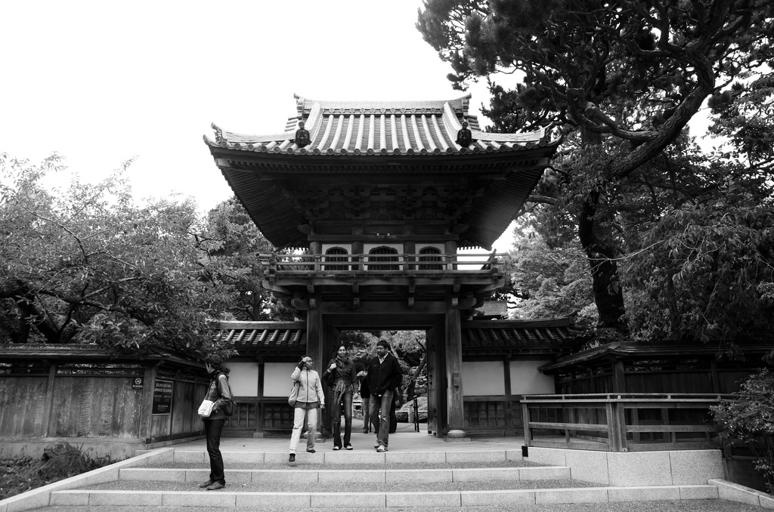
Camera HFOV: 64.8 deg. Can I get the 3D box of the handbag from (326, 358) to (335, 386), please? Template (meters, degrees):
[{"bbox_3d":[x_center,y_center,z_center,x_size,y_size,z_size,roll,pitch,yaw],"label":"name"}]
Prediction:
[{"bbox_3d":[-1.259,2.654,13.732,0.240,0.568,0.246,-4,15,-15],"label":"handbag"}]

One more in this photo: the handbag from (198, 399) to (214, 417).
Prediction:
[{"bbox_3d":[-3.445,2.978,11.838,0.329,0.319,0.130,0,-28,23],"label":"handbag"}]

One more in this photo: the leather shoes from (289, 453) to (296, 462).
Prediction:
[{"bbox_3d":[-1.976,4.218,12.847,0.120,0.240,0.182,-1,14,-5],"label":"leather shoes"}]

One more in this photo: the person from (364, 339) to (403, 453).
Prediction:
[{"bbox_3d":[-0.060,3.152,13.686,0.763,2.580,1.245,-1,14,-2],"label":"person"}]

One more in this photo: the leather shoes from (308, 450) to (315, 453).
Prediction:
[{"bbox_3d":[-1.619,4.209,13.193,0.153,0.062,0.051,-4,-12,2],"label":"leather shoes"}]

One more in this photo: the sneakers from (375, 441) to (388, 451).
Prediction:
[{"bbox_3d":[-0.106,4.187,13.402,0.293,0.242,0.322,1,14,3],"label":"sneakers"}]

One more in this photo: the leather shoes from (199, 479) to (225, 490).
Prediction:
[{"bbox_3d":[-3.319,4.406,11.780,0.289,0.109,0.211,14,-19,-30],"label":"leather shoes"}]
